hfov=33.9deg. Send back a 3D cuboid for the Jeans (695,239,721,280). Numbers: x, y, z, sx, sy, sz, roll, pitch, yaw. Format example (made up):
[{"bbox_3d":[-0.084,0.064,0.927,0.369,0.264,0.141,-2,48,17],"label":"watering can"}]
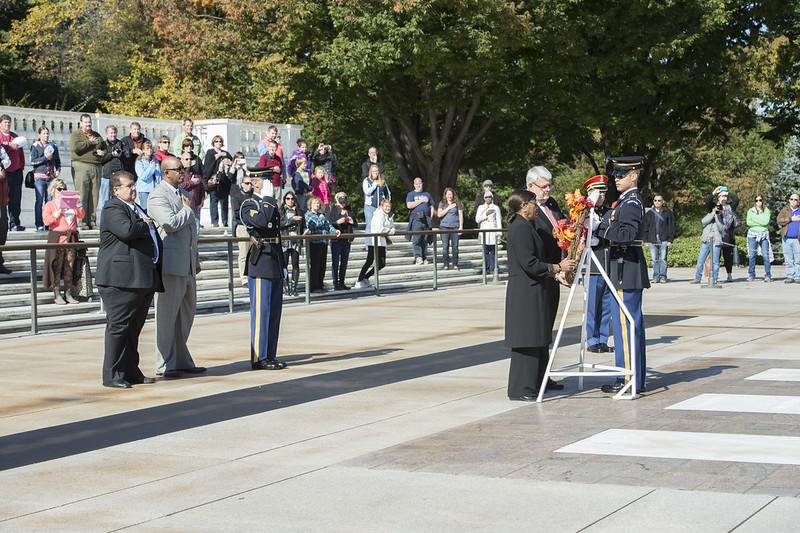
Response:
[{"bbox_3d":[7.906,-0.139,33.674,0.611,1.173,1.622,1,14,13],"label":"Jeans"}]

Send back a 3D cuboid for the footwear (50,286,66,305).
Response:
[{"bbox_3d":[-6.973,0.585,26.839,0.238,0.339,0.339,-6,15,-14],"label":"footwear"}]

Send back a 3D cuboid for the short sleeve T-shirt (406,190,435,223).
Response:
[{"bbox_3d":[0.504,-1.599,34.373,0.576,0.866,0.519,0,15,8],"label":"short sleeve T-shirt"}]

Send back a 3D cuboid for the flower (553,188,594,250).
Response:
[{"bbox_3d":[2.660,-0.708,20.041,0.603,0.994,0.379,-3,15,-2],"label":"flower"}]

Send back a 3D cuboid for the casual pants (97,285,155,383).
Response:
[{"bbox_3d":[-4.407,1.122,21.141,0.913,1.599,0.642,-6,15,-16],"label":"casual pants"}]

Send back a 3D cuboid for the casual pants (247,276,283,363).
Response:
[{"bbox_3d":[-2.248,0.915,22.082,0.627,1.512,0.457,-5,15,-12],"label":"casual pants"}]

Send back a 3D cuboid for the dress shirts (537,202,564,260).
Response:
[{"bbox_3d":[2.331,-0.502,20.473,0.295,0.760,0.653,-13,-7,41],"label":"dress shirts"}]

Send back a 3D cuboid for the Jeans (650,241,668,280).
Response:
[{"bbox_3d":[6.805,-0.204,34.463,0.521,1.186,0.377,-2,1,9],"label":"Jeans"}]

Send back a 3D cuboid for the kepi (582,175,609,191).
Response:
[{"bbox_3d":[3.024,-1.317,20.396,0.297,0.161,0.312,-2,10,-22],"label":"kepi"}]

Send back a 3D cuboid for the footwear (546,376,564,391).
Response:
[{"bbox_3d":[2.385,1.875,20.753,0.394,0.246,0.140,-5,7,-5],"label":"footwear"}]

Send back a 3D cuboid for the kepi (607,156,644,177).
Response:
[{"bbox_3d":[3.599,-1.615,20.604,0.378,0.176,0.447,5,5,45],"label":"kepi"}]

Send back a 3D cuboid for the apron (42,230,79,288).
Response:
[{"bbox_3d":[-6.965,-0.128,26.921,0.792,1.218,0.495,-8,16,-21],"label":"apron"}]
